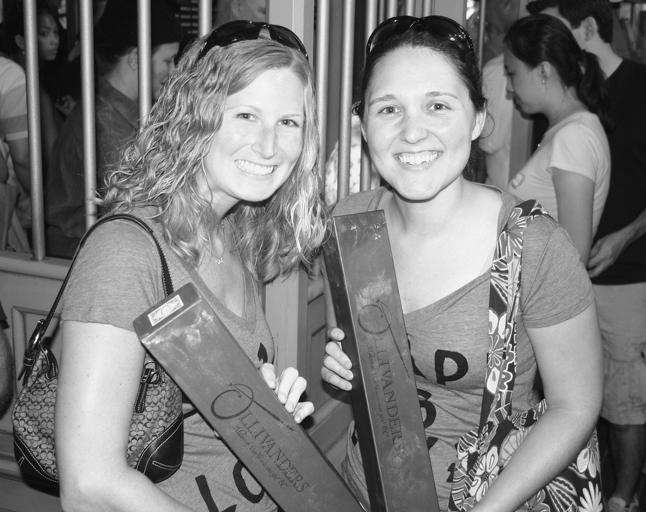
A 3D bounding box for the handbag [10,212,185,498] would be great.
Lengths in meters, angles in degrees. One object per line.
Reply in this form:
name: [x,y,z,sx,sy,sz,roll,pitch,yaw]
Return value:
handbag: [-0.575,0.252,1.591,0.476,0.715,0.246,5,7,17]
